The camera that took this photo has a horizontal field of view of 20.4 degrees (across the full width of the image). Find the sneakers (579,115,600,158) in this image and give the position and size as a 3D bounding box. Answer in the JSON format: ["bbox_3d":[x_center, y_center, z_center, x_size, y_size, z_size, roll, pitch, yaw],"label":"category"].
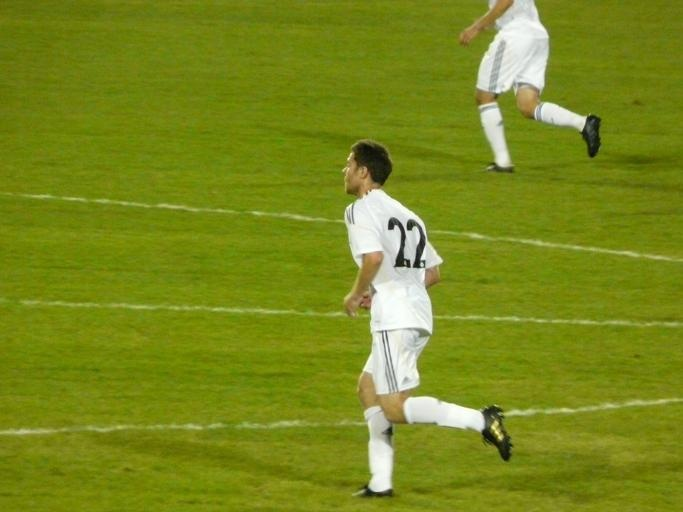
[{"bbox_3d":[2.046,-0.975,15.714,0.149,0.369,0.174,4,15,5],"label":"sneakers"}]

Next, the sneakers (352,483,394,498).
[{"bbox_3d":[0.206,1.684,13.617,0.312,0.104,0.099,3,0,12],"label":"sneakers"}]

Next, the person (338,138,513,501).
[{"bbox_3d":[0.462,0.493,13.515,0.823,2.465,1.263,-7,17,-31],"label":"person"}]
